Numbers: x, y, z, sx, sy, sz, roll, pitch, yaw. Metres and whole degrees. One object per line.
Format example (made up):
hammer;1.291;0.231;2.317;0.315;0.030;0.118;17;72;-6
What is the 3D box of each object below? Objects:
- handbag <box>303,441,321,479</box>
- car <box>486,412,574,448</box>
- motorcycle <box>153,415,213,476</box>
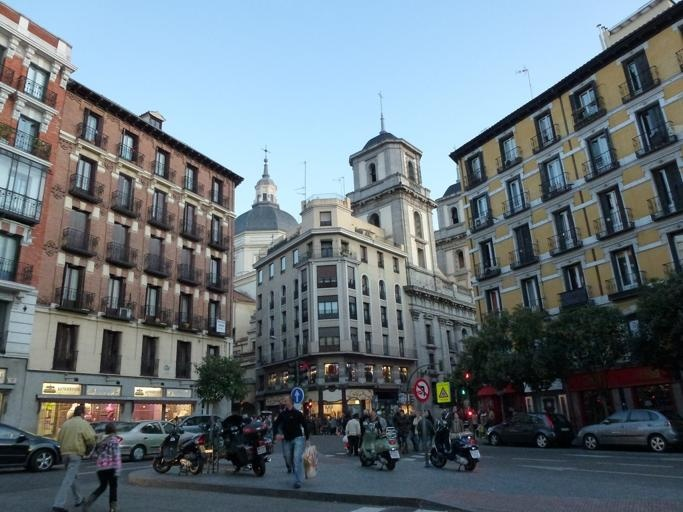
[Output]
handbag;-0.944;6.147;15.069;0.344;1.007;0.924;-4;-21;-1
car;9.924;9.165;26.328;2.112;1.593;3.628;21;-23;-40
motorcycle;-5.633;6.854;17.645;2.060;1.595;0.805;-18;-25;30
